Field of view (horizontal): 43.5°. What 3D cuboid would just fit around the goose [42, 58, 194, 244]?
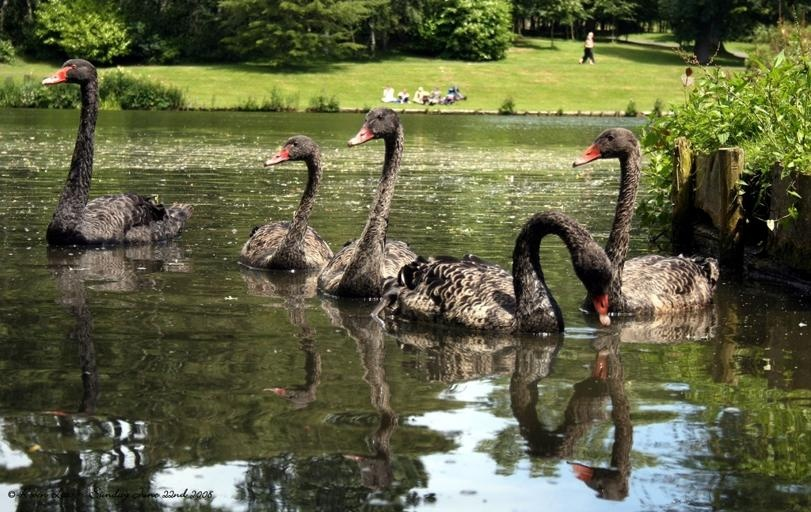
[{"bbox_3d":[-5.060,-1.764,17.358,1.908,3.124,1.769,0,14,0],"label":"goose"}]
